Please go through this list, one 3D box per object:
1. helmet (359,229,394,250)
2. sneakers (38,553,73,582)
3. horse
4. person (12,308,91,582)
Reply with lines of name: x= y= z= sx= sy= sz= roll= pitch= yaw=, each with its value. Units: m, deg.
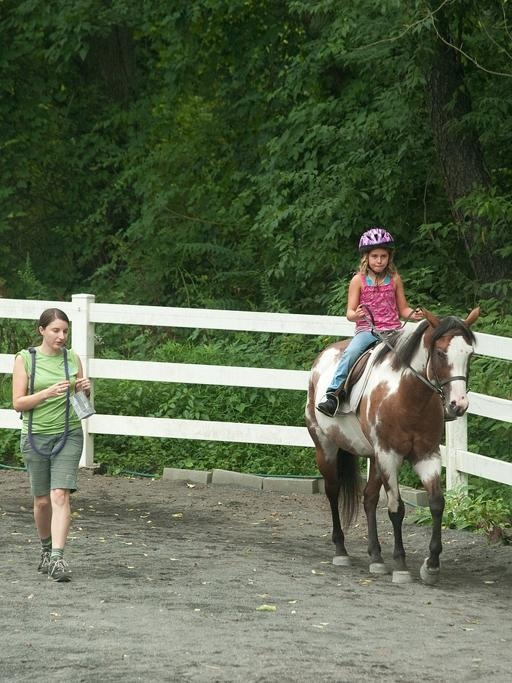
helmet: x=0.805 y=-0.689 z=7.811 sx=0.187 sy=0.158 sz=0.253 roll=1 pitch=3 yaw=-33
sneakers: x=-1.222 y=1.345 z=6.844 sx=0.114 sy=0.113 sz=0.278 roll=7 pitch=-3 yaw=-37
horse: x=0.896 y=0.755 z=7.724 sx=0.689 sy=1.684 sz=2.590 roll=1 pitch=-6 yaw=-14
person: x=-1.268 y=0.608 z=6.954 sx=0.463 sy=1.607 sz=0.605 roll=2 pitch=2 yaw=-9
